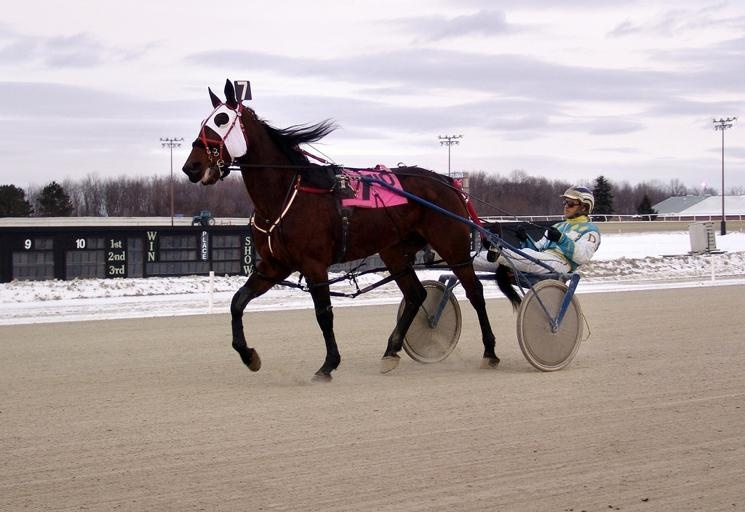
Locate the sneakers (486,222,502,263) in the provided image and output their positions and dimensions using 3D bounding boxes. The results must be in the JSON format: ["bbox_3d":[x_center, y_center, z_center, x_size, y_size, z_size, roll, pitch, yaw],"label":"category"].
[{"bbox_3d":[1.188,-0.115,9.008,0.128,0.433,0.181,10,20,20],"label":"sneakers"}]

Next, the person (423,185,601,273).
[{"bbox_3d":[1.706,-0.290,9.273,1.545,1.037,0.854,5,2,-35],"label":"person"}]

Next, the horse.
[{"bbox_3d":[-0.273,-0.067,8.761,3.293,2.558,0.778,2,-4,-29],"label":"horse"}]
